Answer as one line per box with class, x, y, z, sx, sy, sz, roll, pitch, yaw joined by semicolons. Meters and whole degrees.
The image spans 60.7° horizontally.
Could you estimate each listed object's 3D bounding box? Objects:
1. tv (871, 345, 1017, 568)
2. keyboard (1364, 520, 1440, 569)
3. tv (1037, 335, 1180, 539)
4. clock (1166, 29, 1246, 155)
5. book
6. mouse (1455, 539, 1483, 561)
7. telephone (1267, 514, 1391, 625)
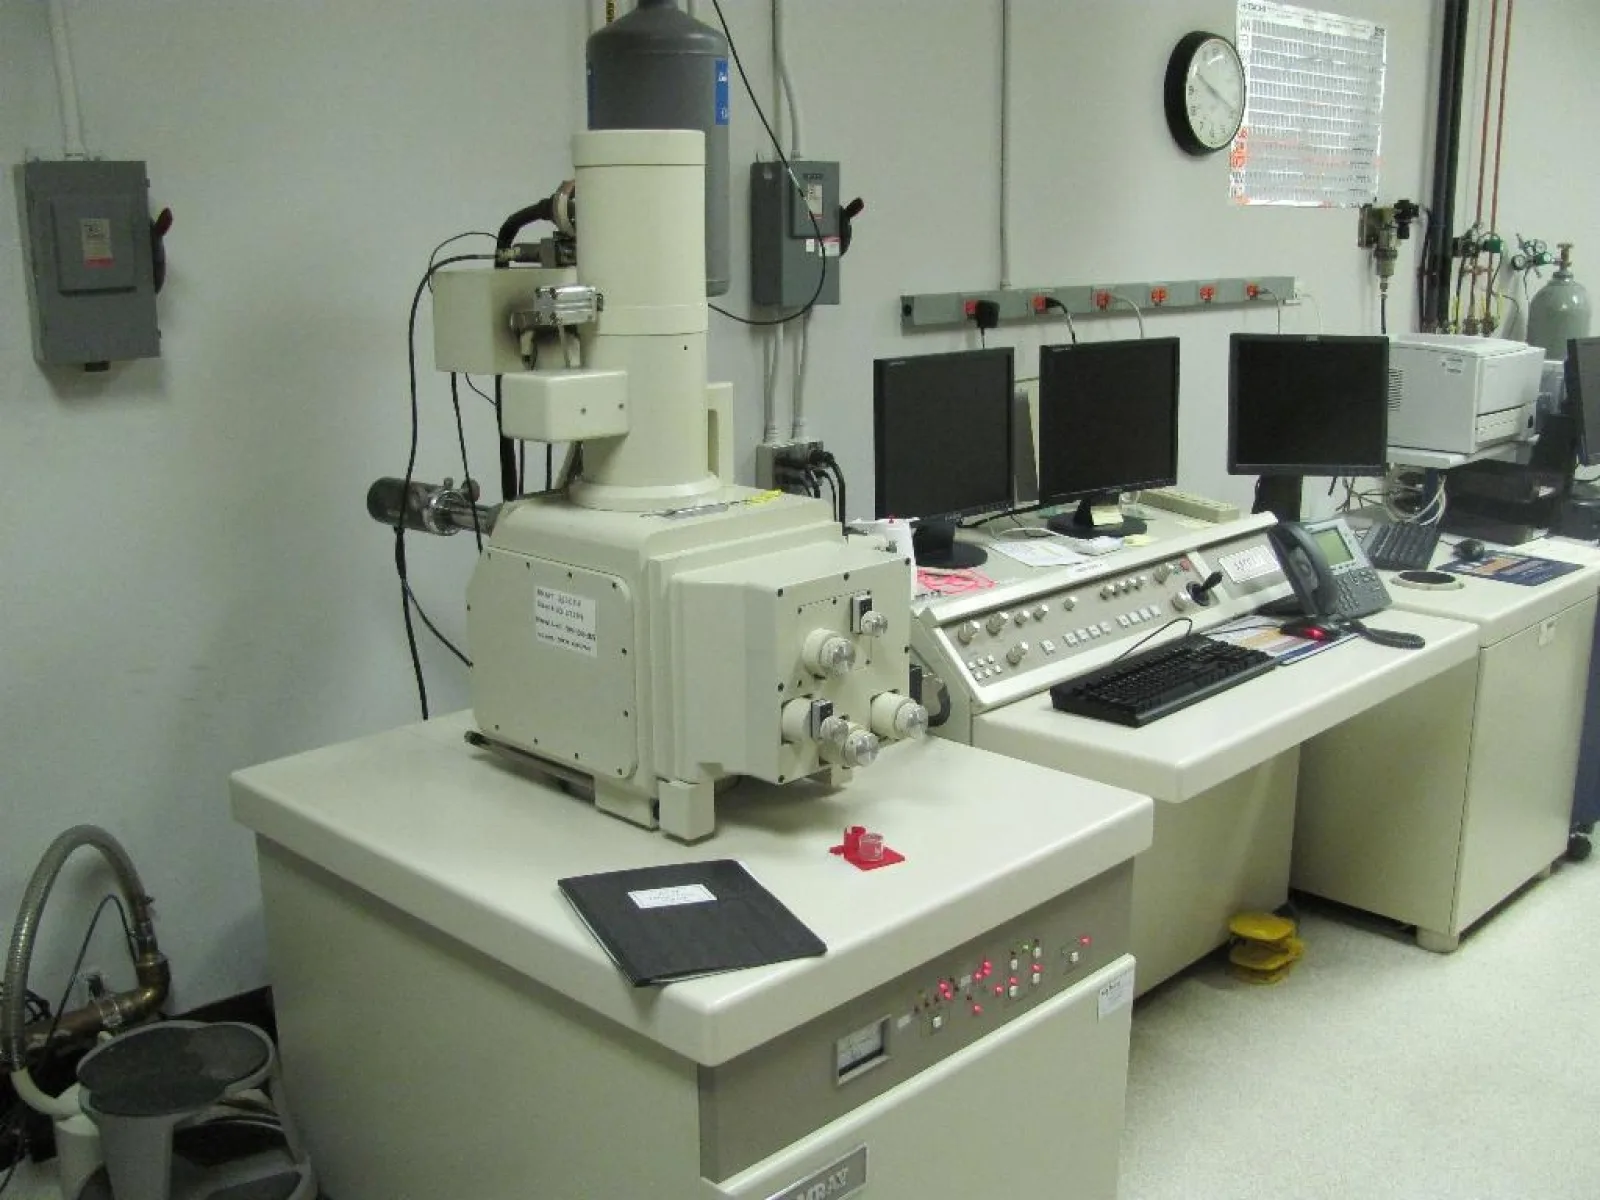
tv;0.321;-0.303;2.993;0.418;0.482;0.158;-12;14;-41
keyboard;1.546;-0.129;3.493;0.163;0.039;0.125;-6;48;37
tv;0.742;-0.389;3.303;0.444;0.456;0.134;-9;16;-30
clock;1.256;-1.559;4.242;0.084;0.380;0.344;3;-10;44
book;-0.153;0.448;1.890;0.249;0.062;0.344;-10;16;-31
mouse;1.757;-0.122;3.564;0.067;0.036;0.118;5;16;26
telephone;1.196;-0.072;3.084;0.289;0.215;0.177;-16;20;-40
